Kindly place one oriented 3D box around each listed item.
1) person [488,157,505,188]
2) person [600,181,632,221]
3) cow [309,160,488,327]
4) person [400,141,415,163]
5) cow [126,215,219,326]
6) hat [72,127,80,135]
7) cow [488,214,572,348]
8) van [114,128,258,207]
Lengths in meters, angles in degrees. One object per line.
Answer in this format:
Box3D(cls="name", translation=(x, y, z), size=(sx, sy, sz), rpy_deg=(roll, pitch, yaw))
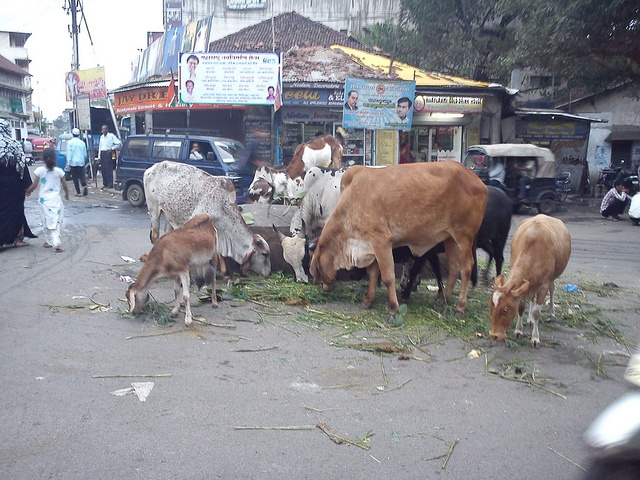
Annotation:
Box3D(cls="person", translation=(5.614, -2.109, 16.499), size=(0.428, 0.963, 0.724), rpy_deg=(12, 17, 41))
Box3D(cls="person", translation=(9.546, -1.265, 16.779), size=(0.971, 1.174, 0.711), rpy_deg=(-8, 16, -35))
Box3D(cls="cow", translation=(0.933, -0.028, 6.507), size=(2.015, 1.925, 0.809), rpy_deg=(6, 13, 19))
Box3D(cls="person", translation=(3.648, -3.737, 21.876), size=(0.801, 0.862, 0.298), rpy_deg=(-7, 14, -31))
Box3D(cls="cow", translation=(-1.793, 0.319, 6.409), size=(0.872, 1.160, 0.982), rpy_deg=(4, 13, 11))
Box3D(cls="hat", translation=(-9.562, -4.216, 20.200), size=(0.376, 0.168, 0.573), rpy_deg=(-2, 20, -24))
Box3D(cls="cow", translation=(2.285, 0.325, 5.809), size=(0.596, 1.462, 1.981), rpy_deg=(2, 17, 31))
Box3D(cls="van", translation=(-4.084, -2.246, 15.596), size=(3.480, 2.060, 2.220), rpy_deg=(3, 10, 15))
